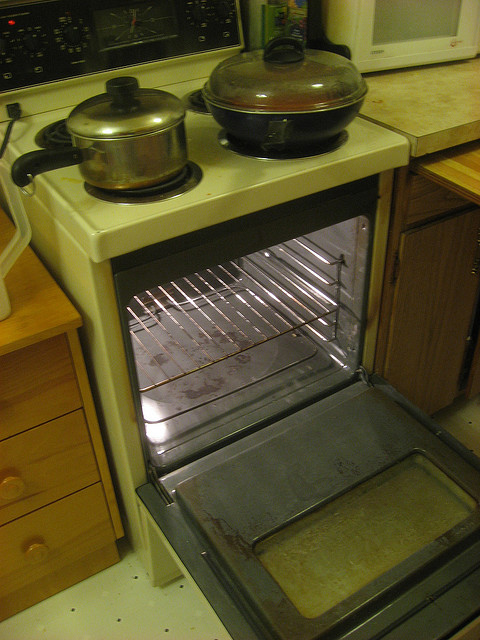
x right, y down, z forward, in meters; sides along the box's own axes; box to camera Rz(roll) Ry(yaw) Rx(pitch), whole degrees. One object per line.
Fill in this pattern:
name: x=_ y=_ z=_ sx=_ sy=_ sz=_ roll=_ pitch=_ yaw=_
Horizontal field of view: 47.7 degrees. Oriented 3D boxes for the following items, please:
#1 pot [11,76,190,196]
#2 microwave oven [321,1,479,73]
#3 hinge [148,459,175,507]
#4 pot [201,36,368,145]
pot: x=-0.222 y=-0.285 z=0.865 sx=0.306 sy=0.164 sz=0.179 roll=-21 pitch=38 yaw=-20
microwave oven: x=0.379 y=-0.693 z=1.321 sx=0.319 sy=0.196 sz=0.157 roll=-17 pitch=47 yaw=-17
hinge: x=-0.166 y=0.332 z=1.115 sx=0.020 sy=0.048 sz=0.084 roll=-41 pitch=71 yaw=13
pot: x=0.086 y=-0.426 z=1.006 sx=0.291 sy=0.159 sz=0.292 roll=-4 pitch=35 yaw=3
